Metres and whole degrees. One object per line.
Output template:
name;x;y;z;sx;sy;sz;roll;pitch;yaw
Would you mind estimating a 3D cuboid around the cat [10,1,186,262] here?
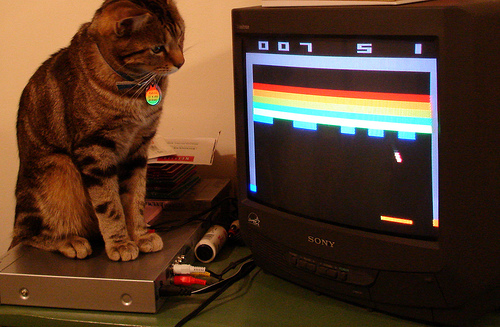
cat;-0.473;-0.107;1.371;0.514;0.740;0.228;4;8;19
